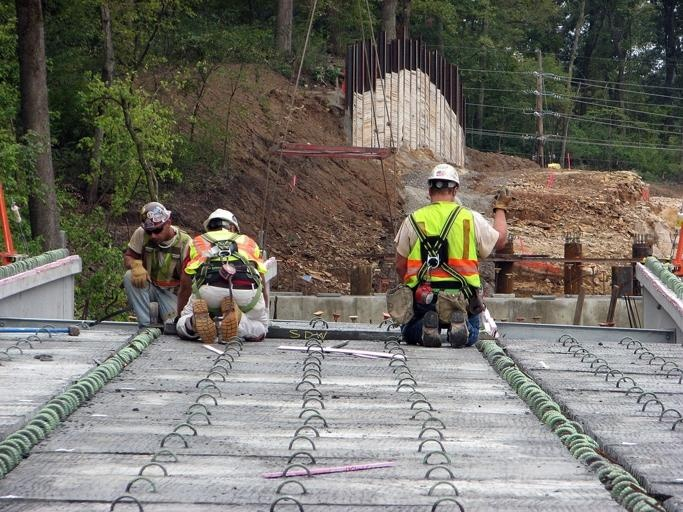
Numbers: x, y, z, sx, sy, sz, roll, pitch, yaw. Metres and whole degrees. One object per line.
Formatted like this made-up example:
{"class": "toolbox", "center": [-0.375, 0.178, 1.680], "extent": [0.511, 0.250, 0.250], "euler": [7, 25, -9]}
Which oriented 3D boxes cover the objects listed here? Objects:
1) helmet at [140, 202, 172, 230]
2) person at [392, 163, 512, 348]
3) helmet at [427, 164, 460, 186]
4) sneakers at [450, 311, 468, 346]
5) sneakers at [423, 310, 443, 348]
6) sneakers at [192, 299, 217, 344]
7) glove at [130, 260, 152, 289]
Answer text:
{"class": "helmet", "center": [-2.293, -0.495, 13.345], "extent": [0.268, 0.278, 0.346], "euler": [-20, 18, 4]}
{"class": "person", "center": [1.156, -0.001, 12.090], "extent": [1.283, 1.924, 1.071], "euler": [1, 13, 4]}
{"class": "helmet", "center": [1.173, -0.963, 12.370], "extent": [0.299, 0.203, 0.400], "euler": [2, -21, 10]}
{"class": "sneakers", "center": [1.271, 0.795, 11.814], "extent": [0.135, 0.431, 0.191], "euler": [0, 5, 3]}
{"class": "sneakers", "center": [0.977, 0.812, 11.818], "extent": [0.151, 0.431, 0.178], "euler": [-1, -4, 4]}
{"class": "sneakers", "center": [-1.477, 0.713, 11.673], "extent": [0.222, 0.483, 0.208], "euler": [-16, -16, -1]}
{"class": "glove", "center": [-2.516, 0.242, 13.410], "extent": [0.203, 0.331, 0.126], "euler": [-10, 3, -23]}
